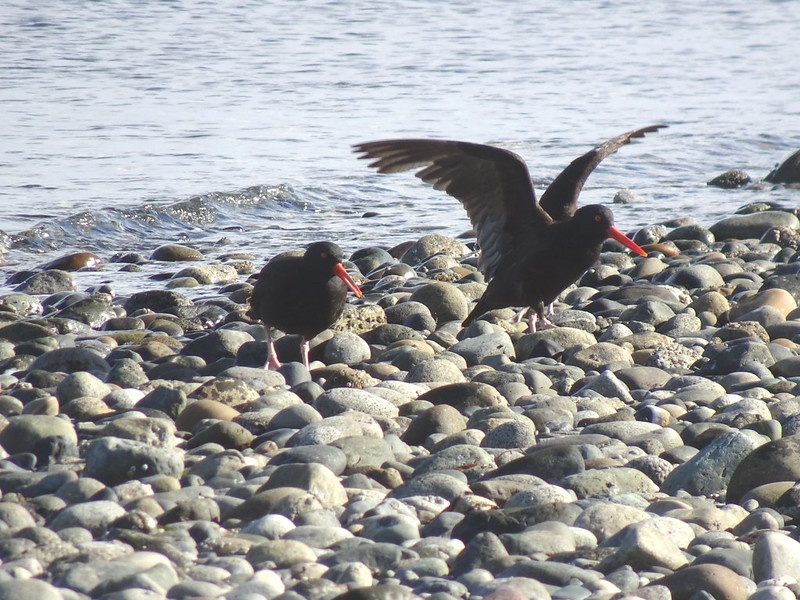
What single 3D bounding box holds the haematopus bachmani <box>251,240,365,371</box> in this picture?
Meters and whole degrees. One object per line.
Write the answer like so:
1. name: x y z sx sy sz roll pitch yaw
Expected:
1. haematopus bachmani: -1.068 -0.008 13.802 0.942 1.208 0.715 19 30 18
